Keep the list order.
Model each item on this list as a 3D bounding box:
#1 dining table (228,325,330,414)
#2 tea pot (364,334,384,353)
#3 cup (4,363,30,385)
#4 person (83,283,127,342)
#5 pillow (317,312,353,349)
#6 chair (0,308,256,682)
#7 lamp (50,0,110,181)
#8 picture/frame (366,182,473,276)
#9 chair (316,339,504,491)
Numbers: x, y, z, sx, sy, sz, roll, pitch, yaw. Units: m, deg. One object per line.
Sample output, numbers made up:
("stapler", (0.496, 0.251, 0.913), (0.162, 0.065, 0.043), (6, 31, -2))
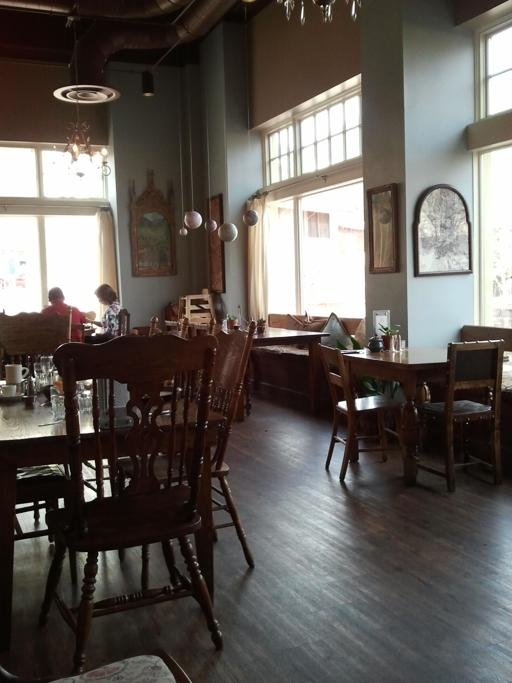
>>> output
("dining table", (0.295, 0.178, 6.007), (0.796, 0.856, 1.080), (-1, 3, -3))
("tea pot", (0.886, 0.016, 3.972), (0.093, 0.141, 0.128), (-4, -8, 33))
("cup", (-1.110, 0.154, 2.442), (0.076, 0.122, 0.130), (-5, -10, 24))
("person", (-2.014, -0.260, 6.913), (0.446, 0.945, 0.473), (1, 5, 4))
("pillow", (0.902, -0.139, 6.017), (0.102, 0.377, 0.360), (-4, -33, 34))
("chair", (-0.368, 0.471, 1.666), (0.583, 0.695, 0.888), (-2, 1, 5))
("lamp", (-2.958, -3.723, 8.813), (0.678, 2.354, 0.750), (-9, -28, -13))
("picture/frame", (1.636, -1.095, 5.099), (0.836, 0.851, 0.072), (-2, 1, -11))
("chair", (0.982, 0.434, 3.684), (0.748, 0.890, 1.204), (-1, 0, -21))
